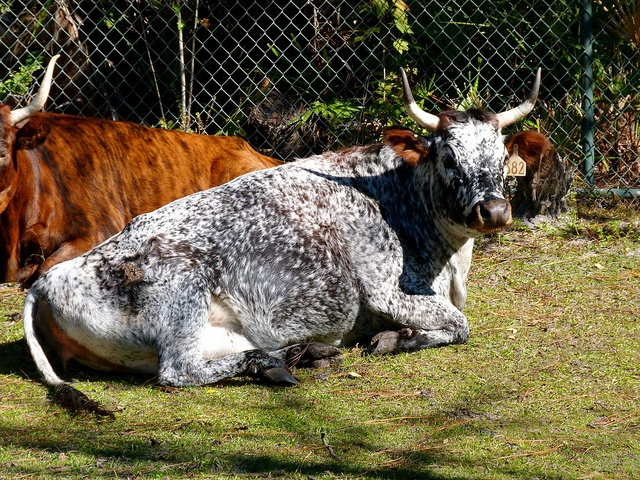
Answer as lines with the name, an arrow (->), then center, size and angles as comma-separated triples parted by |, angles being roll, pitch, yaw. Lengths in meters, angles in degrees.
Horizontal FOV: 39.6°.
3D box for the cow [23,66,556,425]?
cow -> -0.266, -0.023, 7.271 | 4.456, 1.806, 1.353 | -13, 22, -25
